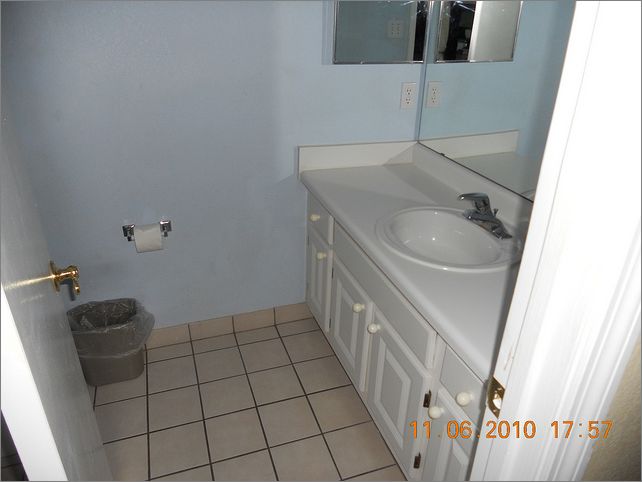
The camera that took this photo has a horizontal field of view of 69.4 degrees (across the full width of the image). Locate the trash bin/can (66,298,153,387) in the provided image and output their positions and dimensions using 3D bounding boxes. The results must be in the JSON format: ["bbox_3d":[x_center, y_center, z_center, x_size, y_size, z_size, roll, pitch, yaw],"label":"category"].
[{"bbox_3d":[-1.017,0.459,2.303,0.419,0.359,0.380,-6,19,-22],"label":"trash bin/can"}]

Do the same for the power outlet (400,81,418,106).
[{"bbox_3d":[0.427,-0.735,2.286,0.095,0.145,0.022,-6,30,-12],"label":"power outlet"}]

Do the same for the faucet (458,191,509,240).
[{"bbox_3d":[0.608,-0.094,1.776,0.215,0.112,0.103,26,48,29],"label":"faucet"}]

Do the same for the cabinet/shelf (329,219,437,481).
[{"bbox_3d":[0.237,0.402,1.720,0.269,0.678,0.772,-6,32,-15],"label":"cabinet/shelf"}]
